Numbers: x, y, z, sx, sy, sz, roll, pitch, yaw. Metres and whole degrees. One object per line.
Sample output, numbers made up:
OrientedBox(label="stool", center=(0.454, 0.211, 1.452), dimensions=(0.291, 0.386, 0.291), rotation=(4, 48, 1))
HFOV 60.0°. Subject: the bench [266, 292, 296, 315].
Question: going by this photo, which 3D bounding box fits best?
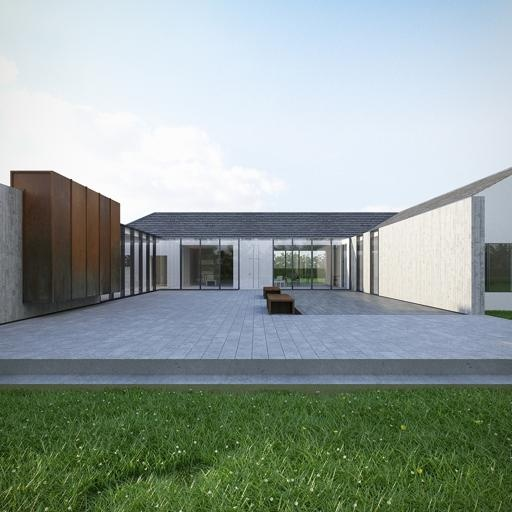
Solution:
OrientedBox(label="bench", center=(0.706, 1.391, 12.740), dimensions=(0.711, 0.449, 1.226), rotation=(0, 5, 0))
